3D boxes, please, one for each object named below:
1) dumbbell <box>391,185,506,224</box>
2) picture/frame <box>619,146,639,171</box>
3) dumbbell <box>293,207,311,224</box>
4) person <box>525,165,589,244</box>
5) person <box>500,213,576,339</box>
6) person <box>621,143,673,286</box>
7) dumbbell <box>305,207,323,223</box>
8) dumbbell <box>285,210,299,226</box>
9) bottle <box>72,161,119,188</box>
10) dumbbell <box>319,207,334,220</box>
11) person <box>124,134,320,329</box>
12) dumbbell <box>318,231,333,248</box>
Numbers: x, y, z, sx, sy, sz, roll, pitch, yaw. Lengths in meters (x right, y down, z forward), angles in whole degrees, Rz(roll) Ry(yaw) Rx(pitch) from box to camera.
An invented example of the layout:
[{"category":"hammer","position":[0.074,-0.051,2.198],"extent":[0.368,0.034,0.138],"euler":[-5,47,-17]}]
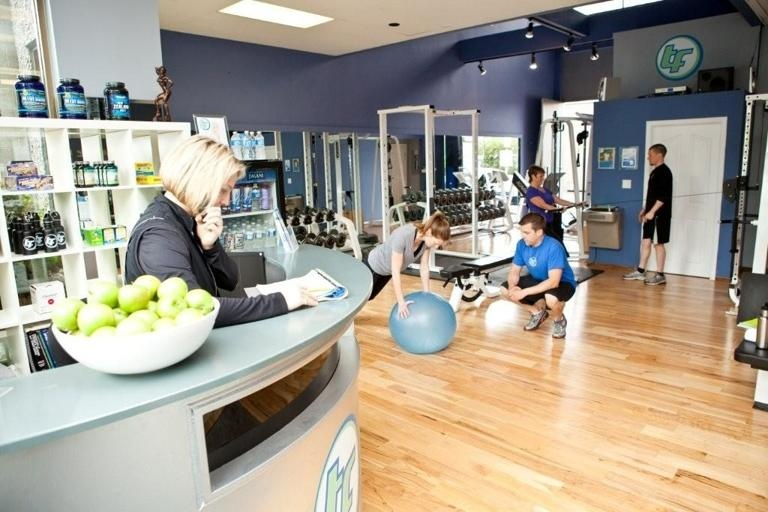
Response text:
[{"category":"dumbbell","position":[1.150,-0.927,8.611],"extent":[0.732,0.402,1.370],"euler":[5,9,43]},{"category":"picture/frame","position":[3.852,-1.535,7.431],"extent":[0.050,0.485,0.390],"euler":[-4,7,-43]},{"category":"dumbbell","position":[-1.274,-0.618,7.397],"extent":[0.249,0.087,0.251],"euler":[-3,19,3]},{"category":"person","position":[2.490,-0.511,7.015],"extent":[0.840,1.535,0.725],"euler":[-4,26,7]},{"category":"person","position":[1.693,0.151,5.166],"extent":[0.733,1.281,0.725],"euler":[2,14,21]},{"category":"person","position":[3.788,-0.586,6.722],"extent":[0.593,1.899,0.630],"euler":[-1,4,5]},{"category":"dumbbell","position":[-1.121,-0.641,7.559],"extent":[0.265,0.103,0.268],"euler":[0,13,22]},{"category":"dumbbell","position":[-1.385,-0.578,7.308],"extent":[0.251,0.230,0.082],"euler":[1,-19,-15]},{"category":"bottle","position":[-2.169,-0.610,3.573],"extent":[0.176,0.191,0.288],"euler":[10,18,44]},{"category":"dumbbell","position":[-0.937,-0.678,7.718],"extent":[0.239,0.123,0.338],"euler":[-2,7,-16]},{"category":"person","position":[-0.755,-0.159,2.539],"extent":[1.052,1.090,0.778],"euler":[-1,12,-7]},{"category":"dumbbell","position":[-0.870,-0.252,7.564],"extent":[0.354,0.128,0.278],"euler":[9,14,38]}]
